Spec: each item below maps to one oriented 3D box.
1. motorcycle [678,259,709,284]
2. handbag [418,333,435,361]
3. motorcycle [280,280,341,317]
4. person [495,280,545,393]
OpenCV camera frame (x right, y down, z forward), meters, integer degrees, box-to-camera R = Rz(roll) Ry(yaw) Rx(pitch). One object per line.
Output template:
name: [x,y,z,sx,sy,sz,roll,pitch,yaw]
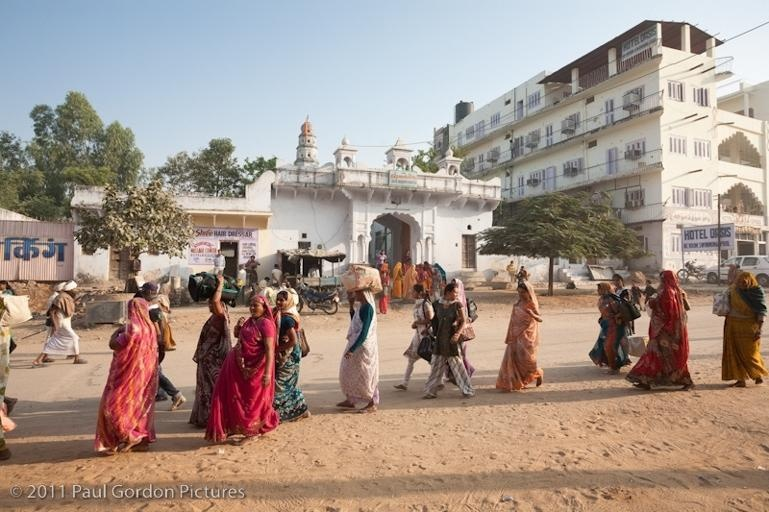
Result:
motorcycle: [15.688,0.782,40.710,2.008,1.336,1.117,1,-3,-1]
handbag: [1.066,2.281,20.226,0.285,0.584,0.535,5,18,-31]
motorcycle: [-2.611,1.607,29.983,1.716,1.086,1.072,5,-1,9]
person: [3.423,2.017,20.285,1.070,2.789,0.412,0,1,6]
